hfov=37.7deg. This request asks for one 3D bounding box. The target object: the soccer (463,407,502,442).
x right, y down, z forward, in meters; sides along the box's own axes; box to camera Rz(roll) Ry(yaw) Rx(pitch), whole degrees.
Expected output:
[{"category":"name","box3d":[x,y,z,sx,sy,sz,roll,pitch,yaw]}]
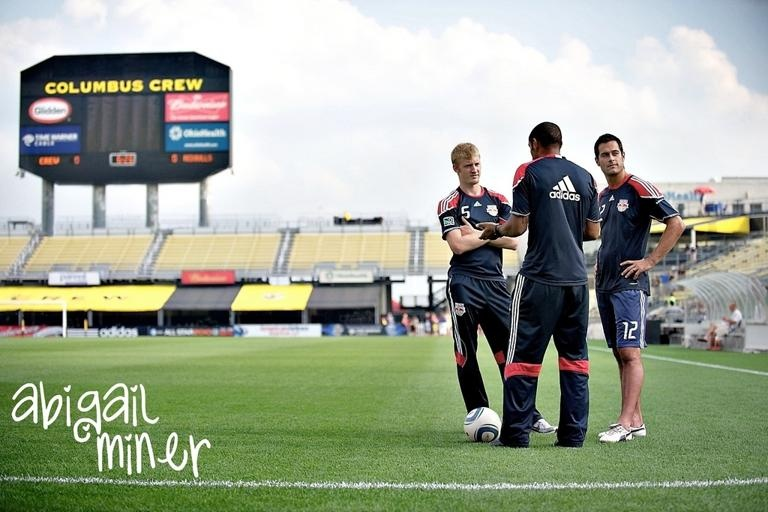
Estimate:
[{"category":"soccer","box3d":[1.819,3.189,21.235,0.646,0.661,0.646,17,-45,4]}]

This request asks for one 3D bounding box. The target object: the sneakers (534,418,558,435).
[{"category":"sneakers","box3d":[3.069,3.268,21.563,0.502,0.214,0.213,0,-6,11]}]
